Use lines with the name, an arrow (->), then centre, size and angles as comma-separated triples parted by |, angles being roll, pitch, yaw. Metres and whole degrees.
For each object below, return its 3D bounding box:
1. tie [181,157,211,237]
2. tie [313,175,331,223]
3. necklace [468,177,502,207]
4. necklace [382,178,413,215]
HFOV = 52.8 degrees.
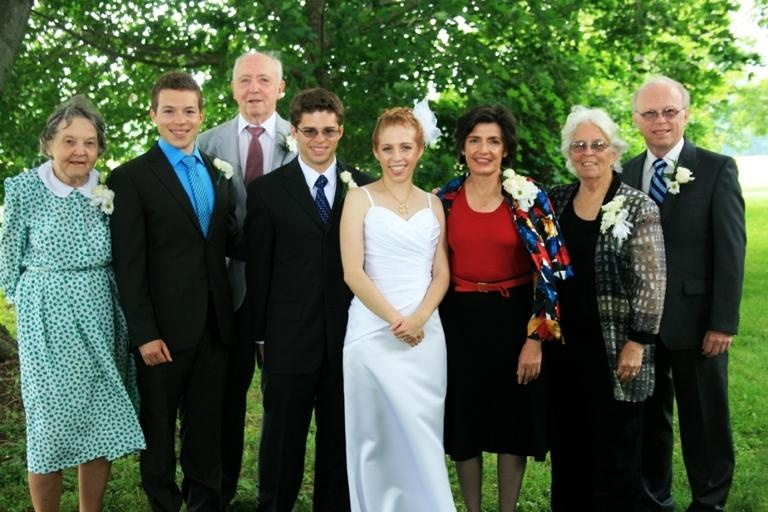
tie -> -1.476, -0.508, 6.123 | 0.169, 0.732, 0.102 | -18, -18, -19
tie -> -0.482, -0.435, 6.029 | 0.112, 0.385, 0.040 | -6, -10, -10
necklace -> 0.785, -0.494, 6.091 | 0.265, 0.239, 0.094 | 1, -3, 14
necklace -> 0.091, -0.456, 5.930 | 0.284, 0.322, 0.017 | -9, -18, -28
